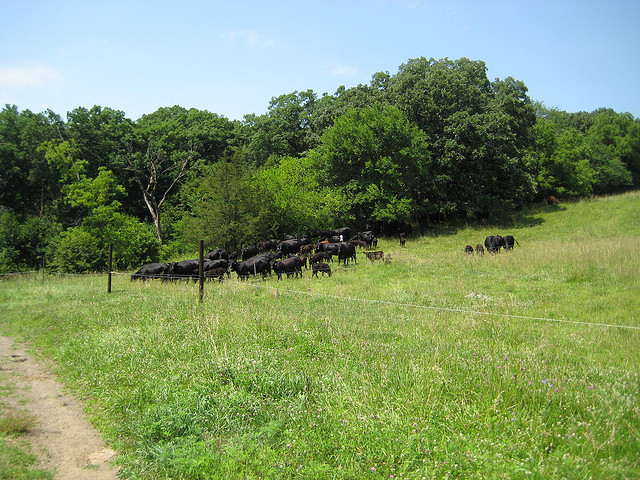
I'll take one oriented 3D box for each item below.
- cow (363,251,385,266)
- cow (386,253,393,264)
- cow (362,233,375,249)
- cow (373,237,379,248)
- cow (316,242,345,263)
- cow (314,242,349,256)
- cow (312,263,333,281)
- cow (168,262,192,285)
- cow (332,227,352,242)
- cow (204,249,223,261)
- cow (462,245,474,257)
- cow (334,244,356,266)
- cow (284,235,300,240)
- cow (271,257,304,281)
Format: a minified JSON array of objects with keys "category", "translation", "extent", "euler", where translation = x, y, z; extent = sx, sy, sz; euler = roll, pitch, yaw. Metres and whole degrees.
[{"category":"cow","translation":[3.355,1.057,34.005],"extent":[0.541,0.616,1.115],"euler":[6,-4,-36]},{"category":"cow","translation":[3.986,1.101,31.646],"extent":[0.408,0.618,0.447],"euler":[-10,-9,34]},{"category":"cow","translation":[3.533,0.144,40.276],"extent":[0.761,1.208,2.162],"euler":[1,-6,1]},{"category":"cow","translation":[4.053,0.189,40.274],"extent":[0.293,0.720,1.021],"euler":[-1,5,8]},{"category":"cow","translation":[0.608,0.565,36.881],"extent":[0.709,1.037,1.872],"euler":[-11,-17,34]},{"category":"cow","translation":[0.557,0.679,37.210],"extent":[2.099,1.233,0.870],"euler":[-3,0,21]},{"category":"cow","translation":[0.113,1.744,31.018],"extent":[1.097,0.711,1.872],"euler":[-2,5,-1]},{"category":"cow","translation":[-8.742,1.914,34.484],"extent":[1.303,0.772,4.540],"euler":[-4,6,-16]},{"category":"cow","translation":[1.784,-0.498,45.259],"extent":[1.150,0.893,2.046],"euler":[0,6,21]},{"category":"cow","translation":[-7.762,1.084,39.060],"extent":[1.415,0.819,0.720],"euler":[1,3,30]},{"category":"cow","translation":[8.978,0.651,32.844],"extent":[0.350,0.665,1.211],"euler":[-2,-7,4]},{"category":"cow","translation":[1.708,0.909,34.627],"extent":[1.125,1.282,0.659],"euler":[-3,5,-7]},{"category":"cow","translation":[-2.339,-0.195,43.923],"extent":[0.973,0.585,0.458],"euler":[2,7,26]},{"category":"cow","translation":[-1.882,1.676,31.989],"extent":[1.699,1.189,1.830],"euler":[-2,5,-1]}]
